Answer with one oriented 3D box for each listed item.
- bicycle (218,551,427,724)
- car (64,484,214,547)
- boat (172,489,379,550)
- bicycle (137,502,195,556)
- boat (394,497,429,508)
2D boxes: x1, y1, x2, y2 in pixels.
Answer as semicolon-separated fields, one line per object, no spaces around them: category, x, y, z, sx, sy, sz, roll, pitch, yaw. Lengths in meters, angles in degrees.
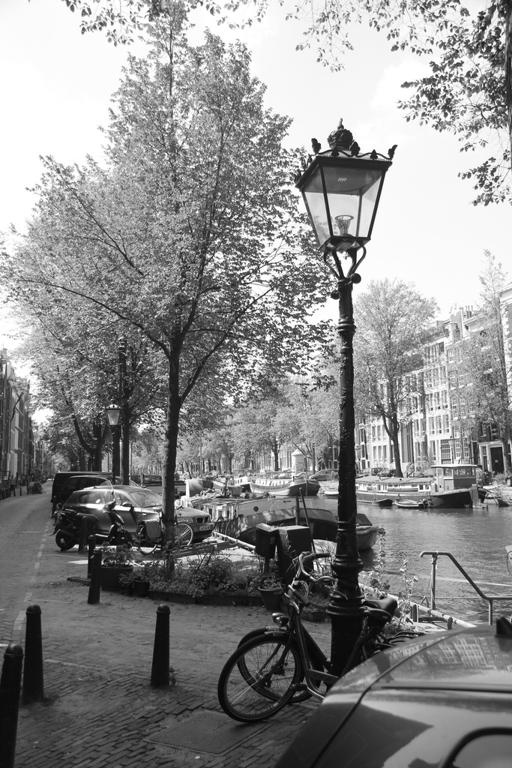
bicycle;0.239;1.906;4.475;1.670;1.162;1.005;4;-8;-5
car;-3.687;3.527;17.293;4.241;1.809;1.979;-9;-13;29
boat;-0.402;3.747;19.666;2.442;2.161;9.692;6;-13;-30
bicycle;-2.151;3.459;14.426;1.218;1.143;4.484;1;-9;-8
boat;8.791;6.958;35.761;0.612;0.519;1.750;5;-5;-38
